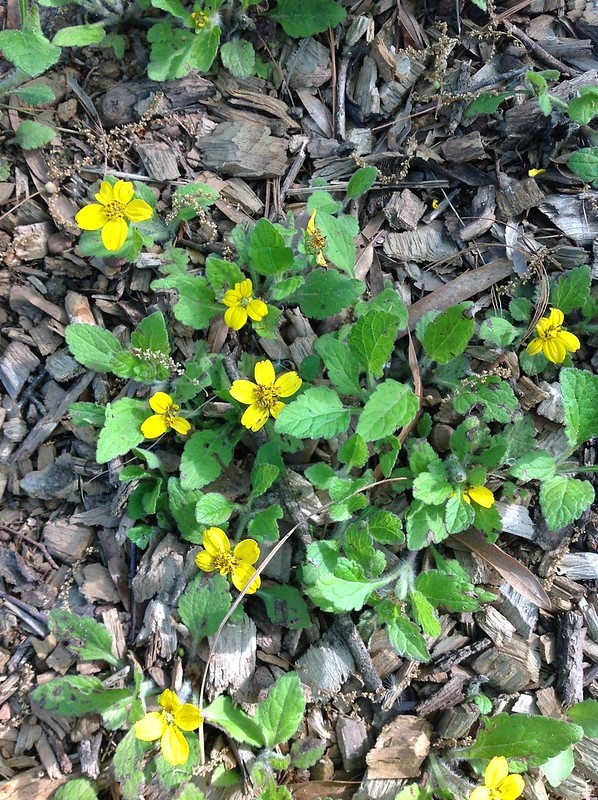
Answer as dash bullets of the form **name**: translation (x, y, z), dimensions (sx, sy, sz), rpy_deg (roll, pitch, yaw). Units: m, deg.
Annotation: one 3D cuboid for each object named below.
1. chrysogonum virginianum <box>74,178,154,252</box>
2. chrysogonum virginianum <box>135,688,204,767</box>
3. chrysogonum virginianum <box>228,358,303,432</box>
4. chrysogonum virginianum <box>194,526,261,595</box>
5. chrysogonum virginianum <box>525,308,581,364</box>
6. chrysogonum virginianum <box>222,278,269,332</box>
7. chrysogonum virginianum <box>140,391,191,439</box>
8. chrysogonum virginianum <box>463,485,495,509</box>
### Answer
- **chrysogonum virginianum**: translation (-0.624, -0.629, 2.134), dimensions (0.185, 0.074, 0.235), rpy_deg (41, 40, 1)
- **chrysogonum virginianum**: translation (-0.382, 0.969, 1.909), dimensions (0.156, 0.157, 0.165), rpy_deg (27, 69, 16)
- **chrysogonum virginianum**: translation (-0.114, -0.025, 2.146), dimensions (0.231, 0.163, 0.153), rpy_deg (-30, 66, -10)
- **chrysogonum virginianum**: translation (-0.242, 0.526, 2.112), dimensions (0.075, 0.141, 0.210), rpy_deg (-31, 31, -14)
- **chrysogonum virginianum**: translation (0.891, -0.215, 2.229), dimensions (0.147, 0.145, 0.156), rpy_deg (25, 69, 15)
- **chrysogonum virginianum**: translation (-0.193, -0.319, 2.146), dimensions (0.142, 0.113, 0.128), rpy_deg (-32, 66, -11)
- **chrysogonum virginianum**: translation (-0.471, 0.055, 2.222), dimensions (0.141, 0.184, 0.159), rpy_deg (-20, 65, -5)
- **chrysogonum virginianum**: translation (0.600, 0.326, 2.181), dimensions (0.110, 0.039, 0.062), rpy_deg (23, 76, 16)
